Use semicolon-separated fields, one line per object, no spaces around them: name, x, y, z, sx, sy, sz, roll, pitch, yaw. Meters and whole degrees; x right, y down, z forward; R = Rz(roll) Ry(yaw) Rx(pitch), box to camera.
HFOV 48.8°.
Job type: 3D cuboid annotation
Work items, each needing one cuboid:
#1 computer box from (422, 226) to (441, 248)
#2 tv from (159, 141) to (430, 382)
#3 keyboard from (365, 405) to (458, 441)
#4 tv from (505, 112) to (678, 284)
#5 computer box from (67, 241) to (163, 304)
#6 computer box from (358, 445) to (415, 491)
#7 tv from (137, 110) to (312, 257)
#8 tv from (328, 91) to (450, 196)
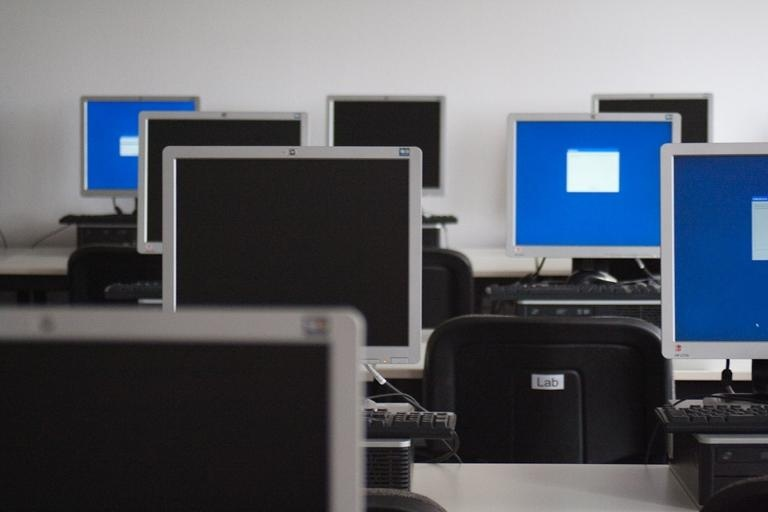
computer box;0.232;-0.089;4.014;0.083;0.099;0.147;0;3;10
tv;-0.258;0.004;2.407;0.744;0.601;0.110;1;-1;-1
keyboard;0.079;0.474;2.403;0.223;0.041;0.123;1;2;-1
tv;0.827;-0.249;3.331;0.737;0.676;0.239;0;-5;4
computer box;-1.234;0.075;3.646;0.349;0.269;0.474;-7;-3;40
computer box;0.022;0.584;2.426;0.178;0.151;0.168;0;1;-8
tv;-0.546;-0.227;2.780;0.609;0.476;0.042;-1;-3;-10
tv;0.021;-0.489;3.626;0.649;0.518;0.064;1;-1;-2
